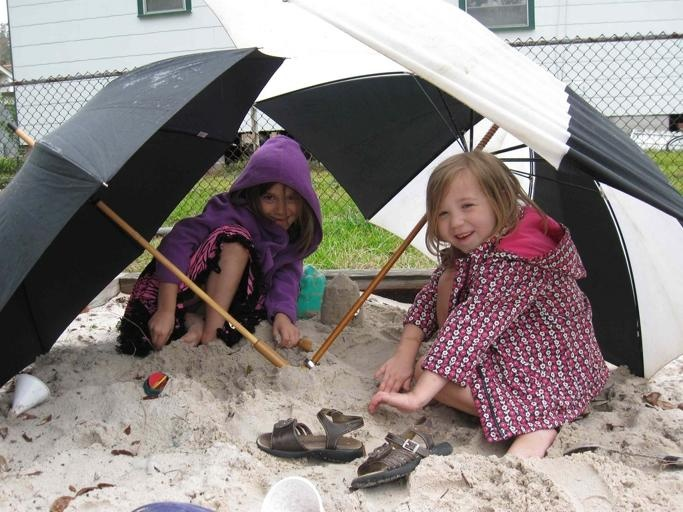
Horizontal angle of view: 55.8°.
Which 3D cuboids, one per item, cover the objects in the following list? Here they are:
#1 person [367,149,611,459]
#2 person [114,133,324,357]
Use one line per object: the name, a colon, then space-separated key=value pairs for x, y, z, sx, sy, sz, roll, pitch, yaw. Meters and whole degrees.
person: x=0.638 y=0.153 z=2.630 sx=0.824 sy=1.177 sz=1.069 roll=-7 pitch=2 yaw=12
person: x=-0.516 y=-0.056 z=3.205 sx=0.763 sy=1.170 sz=0.723 roll=15 pitch=5 yaw=5
